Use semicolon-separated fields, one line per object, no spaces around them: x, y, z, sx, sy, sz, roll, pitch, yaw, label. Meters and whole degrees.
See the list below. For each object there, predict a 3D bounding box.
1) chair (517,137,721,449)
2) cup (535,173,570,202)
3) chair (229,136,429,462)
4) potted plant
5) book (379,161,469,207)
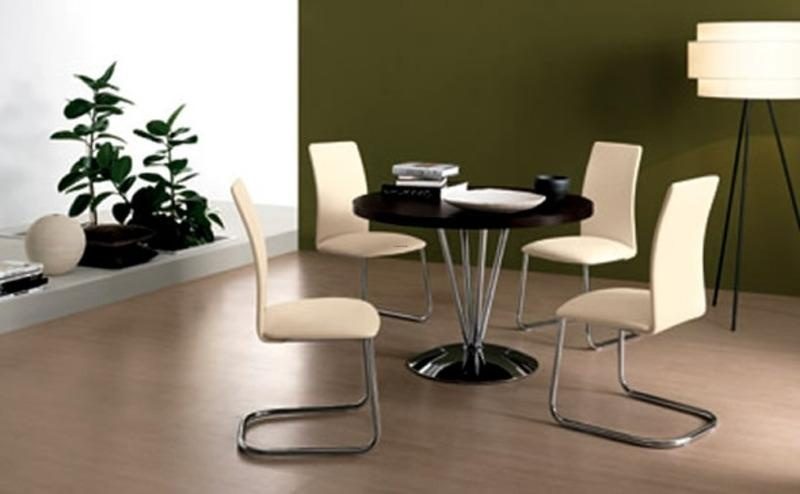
1.395;0.300;3.843;0.889;1.145;1.904;-2;9;-1;chair
0.901;-0.352;3.726;0.189;0.111;0.176;-1;1;0;cup
-0.421;0.342;4.113;0.914;1.119;2.190;2;8;9;chair
-2.689;-0.910;6.026;1.433;1.680;3.047;-12;21;-18;potted plant
0.204;-0.396;3.830;0.380;0.167;0.358;3;6;33;book
